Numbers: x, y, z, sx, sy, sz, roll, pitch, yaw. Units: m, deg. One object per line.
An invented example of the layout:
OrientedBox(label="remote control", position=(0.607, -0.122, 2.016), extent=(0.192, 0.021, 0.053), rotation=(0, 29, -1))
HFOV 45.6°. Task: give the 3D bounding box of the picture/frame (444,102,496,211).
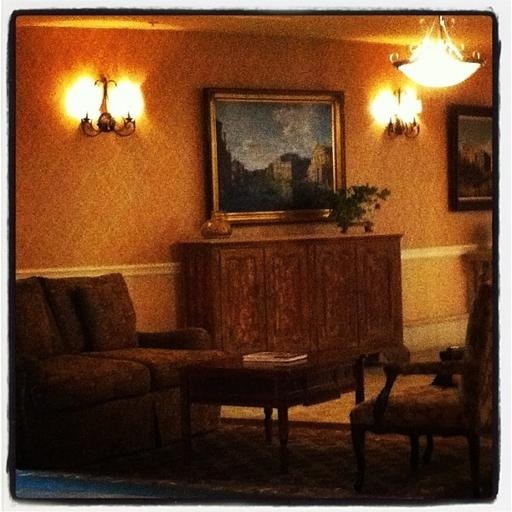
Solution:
OrientedBox(label="picture/frame", position=(1.101, -0.504, 3.149), extent=(0.221, 0.542, 0.314), rotation=(0, 4, 20))

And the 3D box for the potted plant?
OrientedBox(label="potted plant", position=(0.520, -0.258, 3.167), extent=(0.304, 0.310, 0.255), rotation=(0, 5, -26))

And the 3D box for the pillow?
OrientedBox(label="pillow", position=(-0.619, 0.251, 2.520), extent=(0.094, 0.282, 0.253), rotation=(-23, -10, 38))

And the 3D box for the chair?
OrientedBox(label="chair", position=(0.466, 0.373, 1.905), extent=(0.461, 0.789, 0.496), rotation=(0, -5, 17))

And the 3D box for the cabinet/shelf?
OrientedBox(label="cabinet/shelf", position=(0.247, 0.215, 3.003), extent=(0.906, 0.664, 0.339), rotation=(-3, 8, -9))

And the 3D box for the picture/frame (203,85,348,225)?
OrientedBox(label="picture/frame", position=(0.065, -0.515, 3.096), extent=(0.593, 0.636, 0.047), rotation=(-2, 4, -16))
